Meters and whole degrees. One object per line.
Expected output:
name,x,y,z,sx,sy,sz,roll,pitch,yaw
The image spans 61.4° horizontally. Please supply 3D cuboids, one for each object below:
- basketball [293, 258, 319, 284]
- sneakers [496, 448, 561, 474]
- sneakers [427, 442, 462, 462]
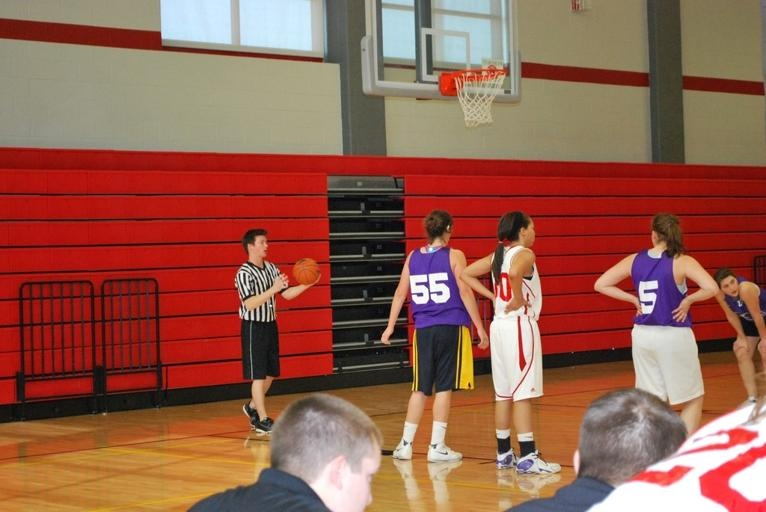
basketball,-0.750,0.132,6.242,0.225,0.237,0.233,-3,3,6
sneakers,0.996,1.425,4.561,0.502,0.226,0.174,1,-1,-1
sneakers,0.448,1.458,4.864,0.288,0.137,0.116,0,0,-17
